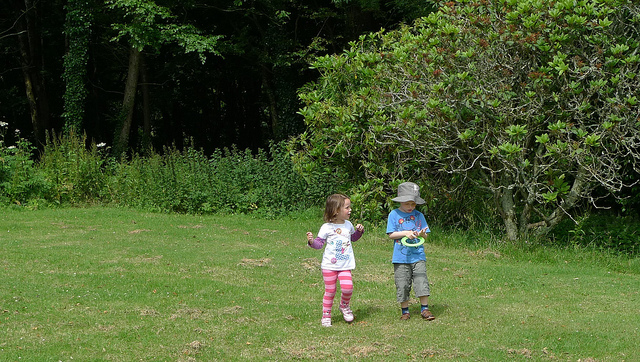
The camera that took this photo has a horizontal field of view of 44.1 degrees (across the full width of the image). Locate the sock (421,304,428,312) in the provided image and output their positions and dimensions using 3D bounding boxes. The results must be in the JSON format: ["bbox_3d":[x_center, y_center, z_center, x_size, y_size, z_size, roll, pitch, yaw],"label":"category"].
[{"bbox_3d":[2.274,2.775,17.075,0.092,0.129,0.138,3,-15,28],"label":"sock"}]

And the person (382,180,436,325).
[{"bbox_3d":[2.062,1.593,17.279,1.061,3.078,0.775,2,-2,22],"label":"person"}]
